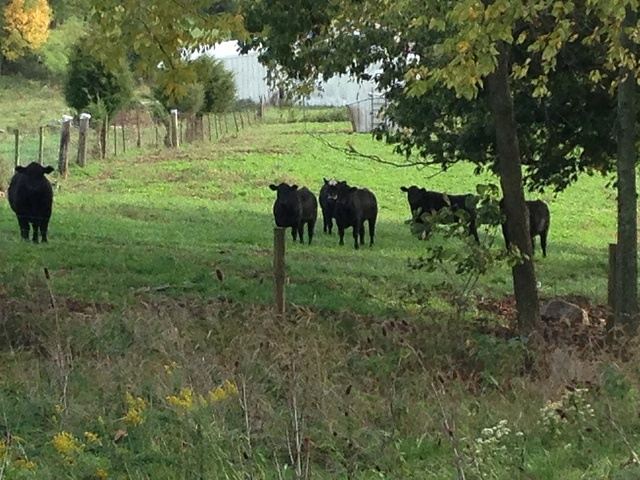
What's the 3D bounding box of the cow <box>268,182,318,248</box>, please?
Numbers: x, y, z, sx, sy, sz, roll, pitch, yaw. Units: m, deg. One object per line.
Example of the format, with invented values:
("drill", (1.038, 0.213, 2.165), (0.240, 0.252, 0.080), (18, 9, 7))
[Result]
("cow", (-0.746, -0.788, 25.078), (1.065, 1.719, 2.497), (2, 4, 14))
